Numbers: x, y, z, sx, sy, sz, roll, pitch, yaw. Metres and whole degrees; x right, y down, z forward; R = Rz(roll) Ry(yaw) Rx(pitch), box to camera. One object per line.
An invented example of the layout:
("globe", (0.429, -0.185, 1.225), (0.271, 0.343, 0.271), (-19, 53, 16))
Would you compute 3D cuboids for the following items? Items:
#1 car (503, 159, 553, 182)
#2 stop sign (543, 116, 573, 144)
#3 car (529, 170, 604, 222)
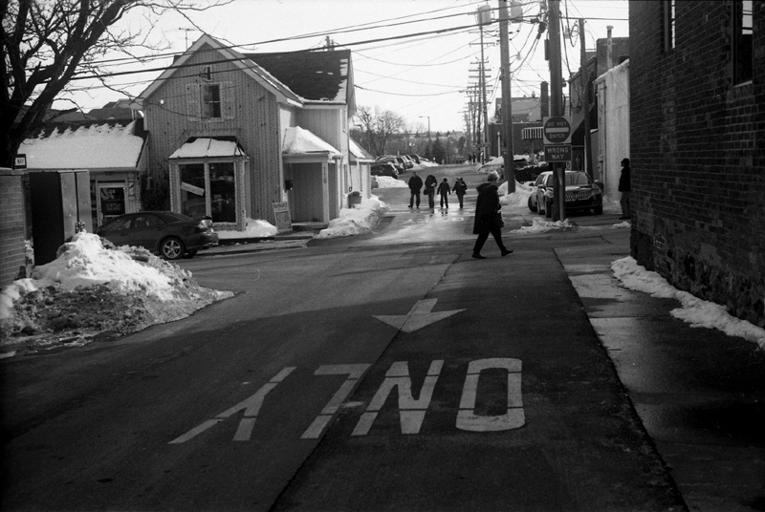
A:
("car", (12.833, -7.175, 60.748), (4.643, 2.263, 2.401), (-7, 8, -9))
("stop sign", (6.069, -4.337, 23.670), (0.883, 0.931, 0.826), (-3, 8, 4))
("car", (8.604, -3.039, 32.864), (1.999, 1.602, 4.610), (-1, 2, 2))
